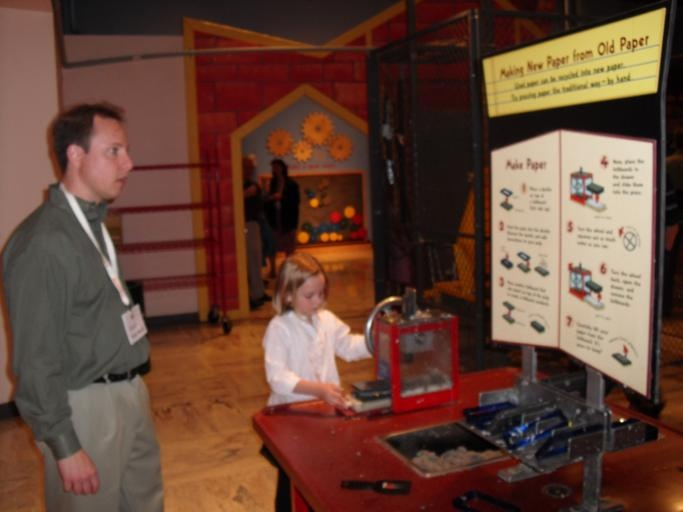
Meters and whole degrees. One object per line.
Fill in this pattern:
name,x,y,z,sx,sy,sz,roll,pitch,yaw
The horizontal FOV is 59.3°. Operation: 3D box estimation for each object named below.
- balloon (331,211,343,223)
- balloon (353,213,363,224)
balloon,-0.084,-0.705,10.633,0.185,0.191,0.101,28,-6,-27
balloon,0.320,-0.681,10.797,0.191,0.193,0.075,-6,12,-27
